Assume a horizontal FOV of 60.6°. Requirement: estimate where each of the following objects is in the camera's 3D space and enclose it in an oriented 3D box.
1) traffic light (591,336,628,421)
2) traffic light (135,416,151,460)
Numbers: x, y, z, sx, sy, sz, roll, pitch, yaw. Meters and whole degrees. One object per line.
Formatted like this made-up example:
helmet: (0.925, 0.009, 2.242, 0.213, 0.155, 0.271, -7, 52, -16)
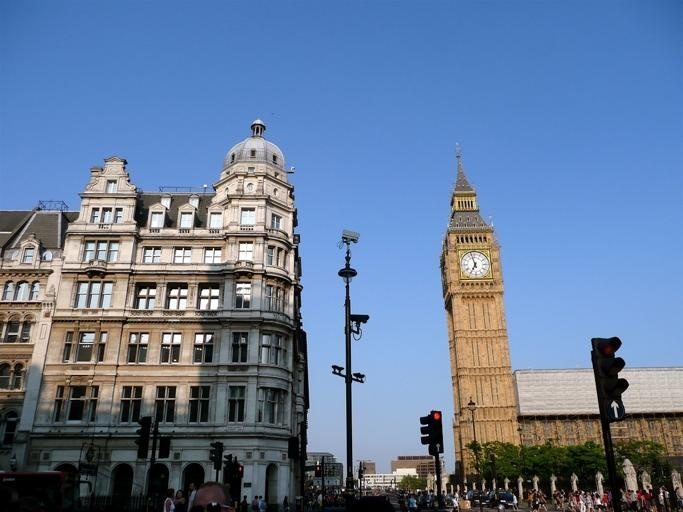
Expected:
traffic light: (8.163, 3.715, 17.787, 0.870, 2.449, 0.868, -10, -25, 21)
traffic light: (-11.953, 10.837, 35.143, 0.813, 2.400, 0.468, 6, -6, -7)
